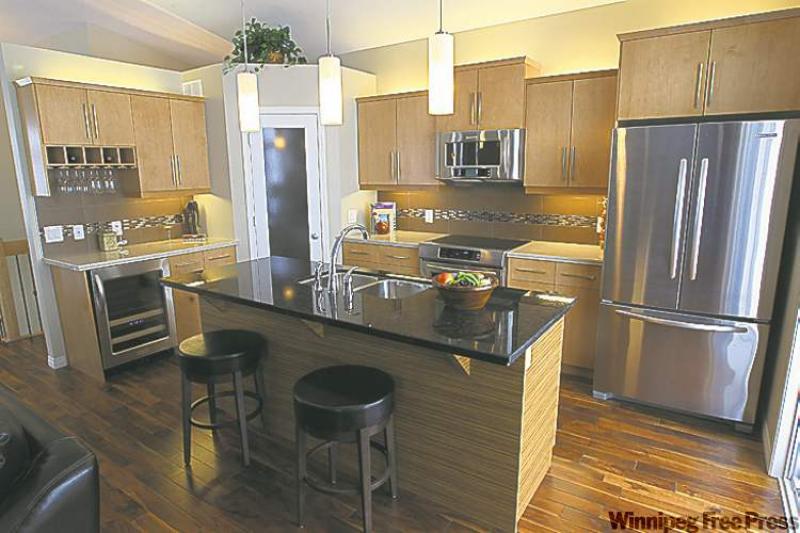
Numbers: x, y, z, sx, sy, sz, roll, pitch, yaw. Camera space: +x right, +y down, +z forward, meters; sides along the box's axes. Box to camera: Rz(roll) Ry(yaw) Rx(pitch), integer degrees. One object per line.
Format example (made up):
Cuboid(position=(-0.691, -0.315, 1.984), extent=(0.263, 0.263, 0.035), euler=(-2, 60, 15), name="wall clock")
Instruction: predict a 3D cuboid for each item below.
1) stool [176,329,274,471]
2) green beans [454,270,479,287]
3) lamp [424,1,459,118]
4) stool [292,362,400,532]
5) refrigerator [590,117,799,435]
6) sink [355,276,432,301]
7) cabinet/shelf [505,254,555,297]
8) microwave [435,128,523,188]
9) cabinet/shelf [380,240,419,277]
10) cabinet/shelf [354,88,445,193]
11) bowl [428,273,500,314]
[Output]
Cuboid(position=(-1.411, 1.084, 4.512), extent=(0.712, 0.868, 0.633), euler=(0, 11, -2), name="stool")
Cuboid(position=(0.499, 0.072, 3.974), extent=(0.126, 0.045, 0.116), euler=(13, 22, 34), name="green beans")
Cuboid(position=(0.278, -1.299, 3.692), extent=(0.153, 0.549, 0.144), euler=(2, 16, 13), name="lamp")
Cuboid(position=(-0.379, 1.280, 3.916), extent=(0.717, 1.065, 0.585), euler=(-1, 15, 1), name="stool")
Cuboid(position=(2.458, 0.064, 4.738), extent=(1.366, 2.523, 0.447), euler=(4, 17, 20), name="refrigerator")
Cuboid(position=(-0.099, 0.181, 4.459), extent=(0.264, 0.111, 0.333), euler=(8, 11, 36), name="sink")
Cuboid(position=(1.318, 0.057, 5.598), extent=(0.504, 0.431, 0.364), euler=(4, 8, 32), name="cabinet/shelf")
Cuboid(position=(0.841, -1.181, 5.851), extent=(1.027, 0.600, 0.575), euler=(5, 9, 35), name="microwave")
Cuboid(position=(0.009, -0.115, 6.306), extent=(0.529, 0.447, 0.348), euler=(5, 11, 29), name="cabinet/shelf")
Cuboid(position=(0.018, -1.428, 6.248), extent=(1.308, 1.092, 0.489), euler=(4, 10, 26), name="cabinet/shelf")
Cuboid(position=(0.520, 0.147, 4.009), extent=(0.399, 0.179, 0.382), euler=(2, 19, -1), name="bowl")
